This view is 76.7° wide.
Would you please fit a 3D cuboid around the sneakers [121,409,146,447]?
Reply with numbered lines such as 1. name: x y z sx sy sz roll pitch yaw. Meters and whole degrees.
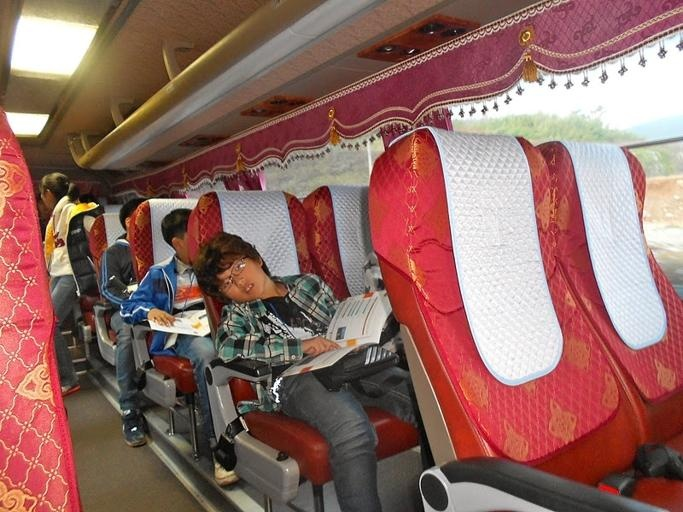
1. sneakers: -1.378 1.130 2.869 0.114 0.145 0.330 -3 5 -32

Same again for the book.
1. book: -0.026 0.215 1.561 0.377 0.135 0.290 -24 -4 -38

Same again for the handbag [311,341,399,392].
1. handbag: 0.038 0.380 1.509 0.280 0.064 0.152 -16 5 1

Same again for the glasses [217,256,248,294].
1. glasses: -0.447 0.074 1.768 0.117 0.114 0.036 -36 -52 25
